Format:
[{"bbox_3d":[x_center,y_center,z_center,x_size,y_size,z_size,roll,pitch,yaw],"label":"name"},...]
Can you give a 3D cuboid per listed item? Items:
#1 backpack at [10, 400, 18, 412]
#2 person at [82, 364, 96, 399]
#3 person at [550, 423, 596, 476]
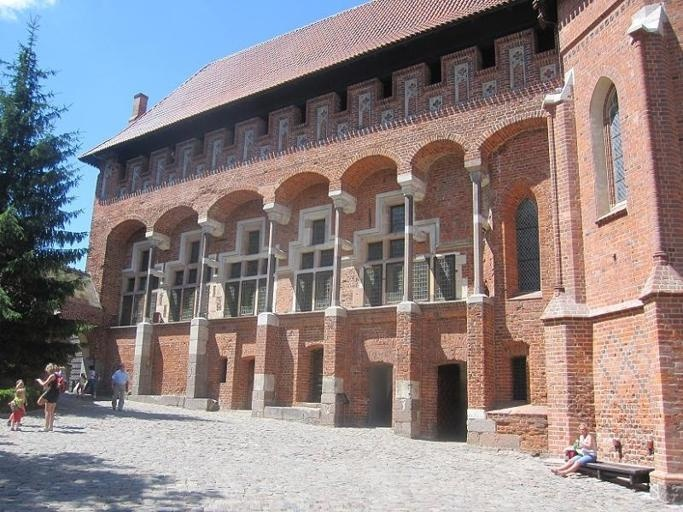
[{"bbox_3d":[-8.680,4.012,15.319,0.247,0.297,0.177,2,5,-16],"label":"backpack"},{"bbox_3d":[-11.828,5.910,27.461,0.533,1.498,1.387,8,-19,-21],"label":"person"},{"bbox_3d":[5.264,4.389,13.145,1.232,0.929,0.524,-13,-9,-15],"label":"person"}]
